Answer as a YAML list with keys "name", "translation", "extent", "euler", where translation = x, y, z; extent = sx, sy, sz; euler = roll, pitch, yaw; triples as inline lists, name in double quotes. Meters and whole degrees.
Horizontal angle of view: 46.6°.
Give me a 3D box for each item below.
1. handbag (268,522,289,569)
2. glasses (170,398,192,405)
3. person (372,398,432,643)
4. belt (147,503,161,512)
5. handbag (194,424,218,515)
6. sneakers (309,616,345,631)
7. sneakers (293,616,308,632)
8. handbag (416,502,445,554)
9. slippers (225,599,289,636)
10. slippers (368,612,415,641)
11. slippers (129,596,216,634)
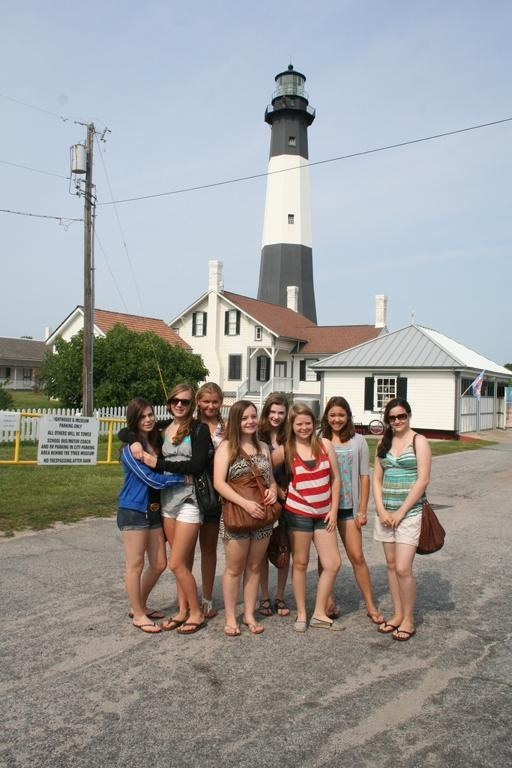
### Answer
- name: "handbag"
  translation: [0.169, 1.275, 4.672]
  extent: [0.175, 0.403, 0.215]
  euler: [1, -2, 1]
- name: "glasses"
  translation: [-0.566, 0.130, 4.414]
  extent: [0.145, 0.059, 0.073]
  euler: [2, -2, -10]
- name: "person"
  translation: [1.082, 0.980, 4.492]
  extent: [0.361, 1.742, 0.521]
  euler: [2, -3, -16]
- name: "belt"
  translation: [-0.743, 0.903, 4.361]
  extent: [0.032, 0.068, 0.129]
  euler: [0, -3, 21]
- name: "handbag"
  translation: [-0.353, 0.669, 4.442]
  extent: [0.169, 0.730, 0.368]
  euler: [1, -2, 6]
- name: "sneakers"
  translation: [0.525, 1.791, 4.450]
  extent: [0.260, 0.093, 0.093]
  euler: [2, -1, 5]
- name: "sneakers"
  translation: [0.326, 1.792, 4.434]
  extent: [0.089, 0.059, 0.169]
  euler: [-1, -2, -1]
- name: "handbag"
  translation: [1.307, 1.039, 4.448]
  extent: [0.181, 0.417, 0.351]
  euler: [-11, -10, 28]
- name: "slippers"
  translation: [-0.002, 1.787, 4.531]
  extent: [0.272, 0.099, 0.384]
  euler: [-1, -2, -11]
- name: "slippers"
  translation: [1.011, 1.766, 4.360]
  extent: [0.259, 0.150, 0.259]
  euler: [1, -2, 19]
- name: "slippers"
  translation: [-0.513, 1.788, 4.628]
  extent: [0.245, 0.136, 0.520]
  euler: [6, 1, 42]
